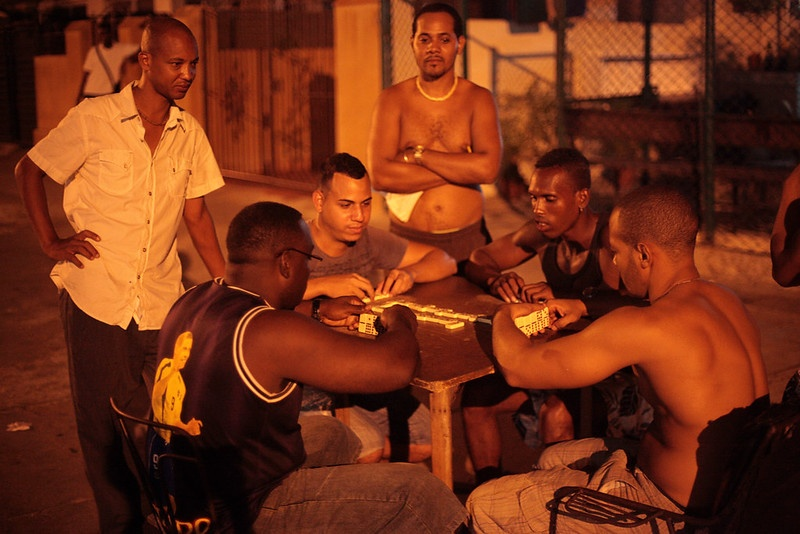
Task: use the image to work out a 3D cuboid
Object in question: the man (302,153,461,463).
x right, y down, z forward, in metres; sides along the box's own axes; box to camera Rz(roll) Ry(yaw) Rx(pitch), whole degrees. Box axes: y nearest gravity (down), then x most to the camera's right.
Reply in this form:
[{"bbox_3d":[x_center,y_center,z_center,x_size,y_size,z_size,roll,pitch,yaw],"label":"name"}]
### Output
[{"bbox_3d":[-0.236,0.295,5.188,1.271,1.953,1.072,-5,10,-22],"label":"man"}]
